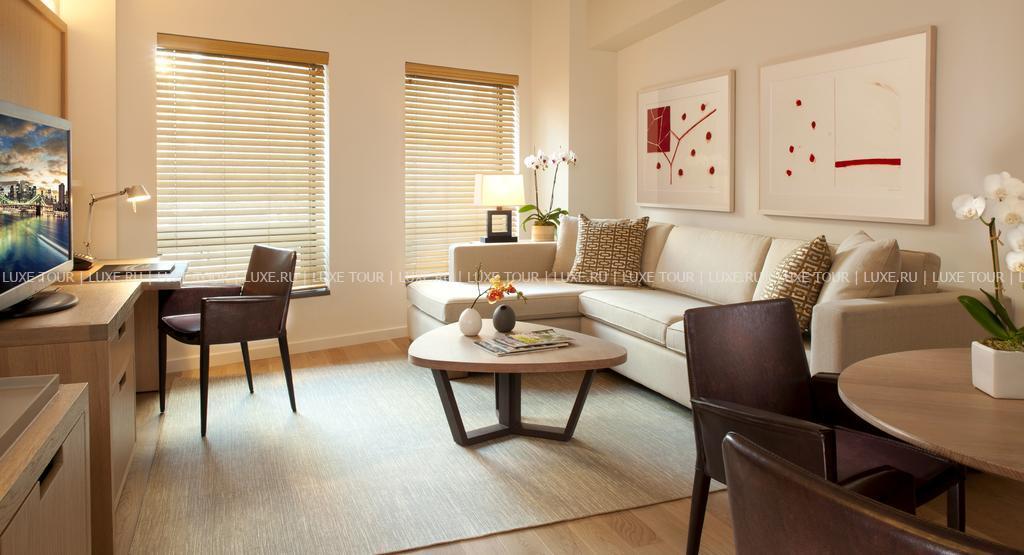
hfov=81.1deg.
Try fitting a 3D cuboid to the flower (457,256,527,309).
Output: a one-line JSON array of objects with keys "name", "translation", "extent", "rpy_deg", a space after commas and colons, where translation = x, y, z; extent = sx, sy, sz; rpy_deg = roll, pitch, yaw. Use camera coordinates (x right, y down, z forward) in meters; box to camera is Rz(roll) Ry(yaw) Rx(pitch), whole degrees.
[{"name": "flower", "translation": [-0.093, 0.079, 4.556], "extent": [0.363, 0.174, 0.460], "rpy_deg": [-13, -27, 24]}]

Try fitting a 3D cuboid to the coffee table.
[{"name": "coffee table", "translation": [-0.031, 0.675, 3.980], "extent": [1.191, 0.492, 0.944], "rpy_deg": [-1, 4, -16]}]

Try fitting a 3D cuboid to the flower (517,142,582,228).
[{"name": "flower", "translation": [0.350, -0.967, 6.372], "extent": [0.525, 0.840, 0.796], "rpy_deg": [-7, 11, -38]}]

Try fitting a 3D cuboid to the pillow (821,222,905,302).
[{"name": "pillow", "translation": [2.358, -0.089, 3.995], "extent": [0.313, 0.503, 0.478], "rpy_deg": [24, -1, -29]}]

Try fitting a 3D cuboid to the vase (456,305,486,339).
[{"name": "vase", "translation": [-0.301, 0.319, 4.294], "extent": [0.201, 0.209, 0.201], "rpy_deg": [7, 11, 43]}]

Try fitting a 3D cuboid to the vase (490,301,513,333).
[{"name": "vase", "translation": [-0.044, 0.297, 4.334], "extent": [0.191, 0.203, 0.186], "rpy_deg": [-1, 3, -30]}]

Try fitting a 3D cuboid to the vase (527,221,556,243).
[{"name": "vase", "translation": [0.328, -0.470, 6.173], "extent": [0.230, 0.140, 0.213], "rpy_deg": [0, 3, -9]}]

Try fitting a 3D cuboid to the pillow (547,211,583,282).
[{"name": "pillow", "translation": [0.524, -0.283, 5.840], "extent": [0.271, 0.684, 0.734], "rpy_deg": [8, 1, -12]}]

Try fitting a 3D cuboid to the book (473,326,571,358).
[{"name": "book", "translation": [0.084, 0.432, 4.067], "extent": [0.643, 0.076, 0.393], "rpy_deg": [-2, 8, -17]}]
